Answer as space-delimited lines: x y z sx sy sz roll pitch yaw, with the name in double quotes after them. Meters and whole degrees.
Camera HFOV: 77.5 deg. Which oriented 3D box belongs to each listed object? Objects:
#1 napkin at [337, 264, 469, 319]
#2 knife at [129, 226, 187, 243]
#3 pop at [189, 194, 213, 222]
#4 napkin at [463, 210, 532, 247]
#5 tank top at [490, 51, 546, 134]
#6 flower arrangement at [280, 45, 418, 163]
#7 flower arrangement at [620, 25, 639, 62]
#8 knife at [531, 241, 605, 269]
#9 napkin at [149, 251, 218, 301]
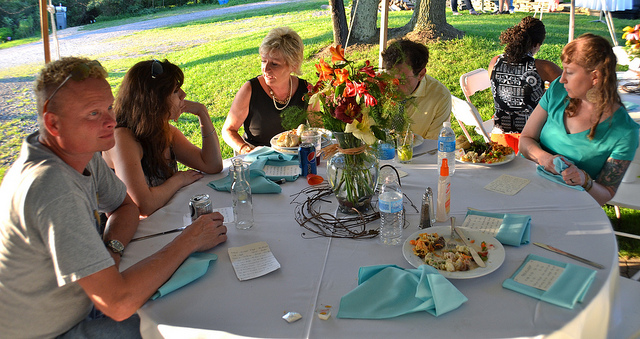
0.512 0.794 2.587 0.809 0.194 0.289 -5 22 3 "napkin"
-1.225 0.493 3.005 0.508 0.057 0.024 -11 5 -7 "knife"
-0.942 0.336 3.114 0.185 0.263 0.166 -3 26 -15 "pop"
1.339 0.409 2.905 0.416 0.213 0.304 3 0 29 "napkin"
2.461 -0.965 4.967 0.617 0.974 0.283 1 25 20 "tank top"
0.171 -0.503 3.130 0.807 0.668 0.792 -6 36 -28 "flower arrangement"
3.822 -1.554 4.884 0.168 0.426 0.305 5 26 27 "flower arrangement"
1.703 0.591 2.721 0.448 0.021 0.047 17 51 20 "knife"
-0.919 0.705 2.718 0.265 0.049 0.332 8 44 18 "napkin"
